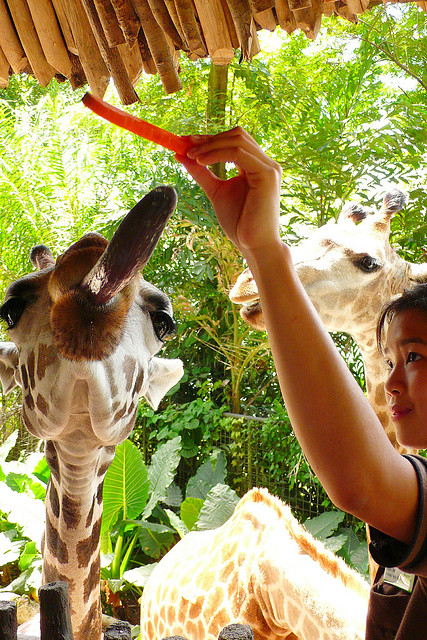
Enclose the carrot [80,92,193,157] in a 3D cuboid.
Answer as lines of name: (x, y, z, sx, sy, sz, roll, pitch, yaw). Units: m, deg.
carrot: (-0.114, -0.281, 0.891, 0.111, 0.117, 0.150, -23, 28, -3)
